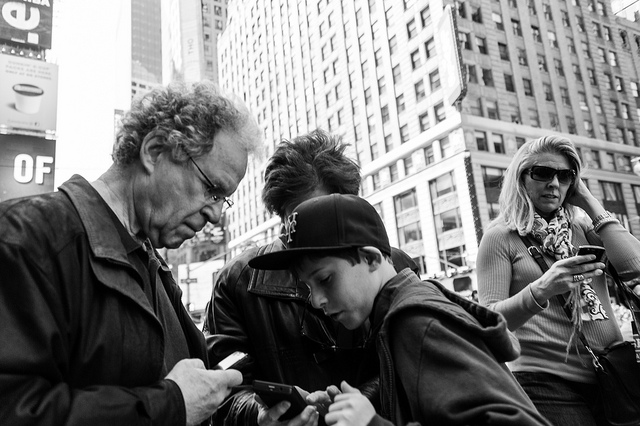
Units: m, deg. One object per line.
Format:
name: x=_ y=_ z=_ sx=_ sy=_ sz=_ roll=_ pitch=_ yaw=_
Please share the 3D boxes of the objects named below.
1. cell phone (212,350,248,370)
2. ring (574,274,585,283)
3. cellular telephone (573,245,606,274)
cell phone: x=-0.667 y=1.122 z=4.655 sx=0.137 sy=0.055 sz=0.230 roll=11 pitch=17 yaw=31
ring: x=2.204 y=0.560 z=5.236 sx=0.064 sy=0.033 sz=0.089 roll=-7 pitch=-2 yaw=18
cellular telephone: x=2.331 y=0.369 z=5.284 sx=0.304 sy=0.168 sz=0.113 roll=2 pitch=-12 yaw=-16
